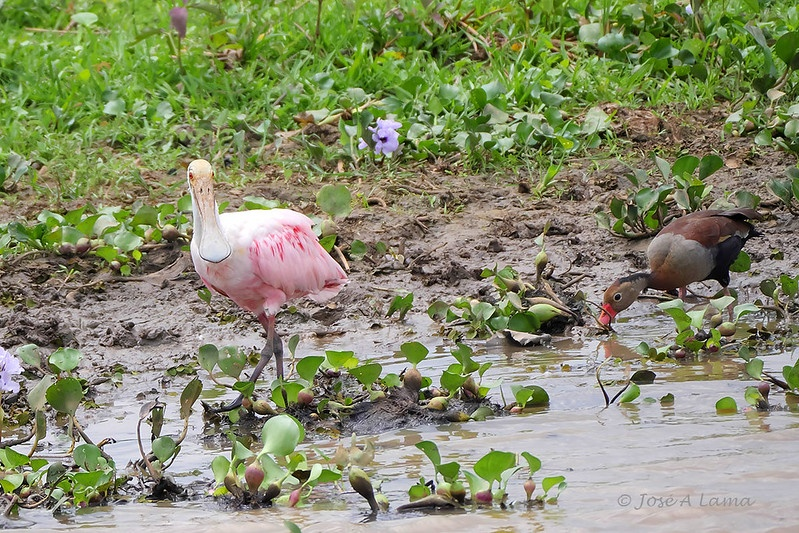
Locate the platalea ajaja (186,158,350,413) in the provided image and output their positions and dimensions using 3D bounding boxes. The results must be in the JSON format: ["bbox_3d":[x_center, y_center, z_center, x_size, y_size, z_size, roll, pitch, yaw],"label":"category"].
[{"bbox_3d":[-1.086,0.059,6.568,1.279,1.661,0.855,5,14,27],"label":"platalea ajaja"}]

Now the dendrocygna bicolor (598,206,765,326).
[{"bbox_3d":[2.191,-0.058,6.850,1.403,0.574,0.391,-16,24,-7],"label":"dendrocygna bicolor"}]
